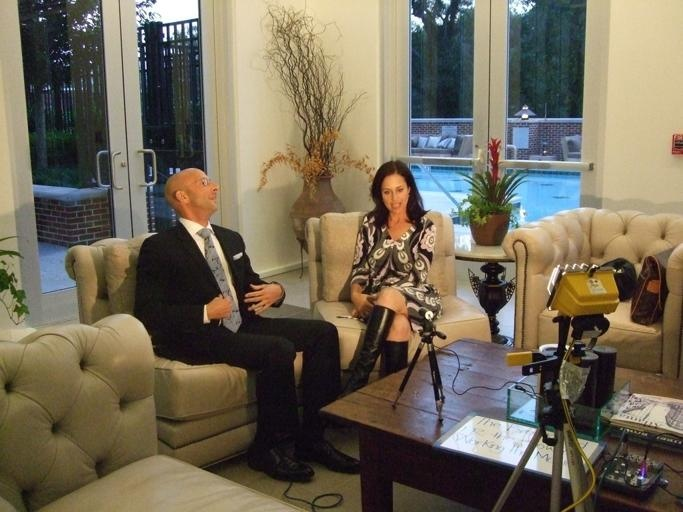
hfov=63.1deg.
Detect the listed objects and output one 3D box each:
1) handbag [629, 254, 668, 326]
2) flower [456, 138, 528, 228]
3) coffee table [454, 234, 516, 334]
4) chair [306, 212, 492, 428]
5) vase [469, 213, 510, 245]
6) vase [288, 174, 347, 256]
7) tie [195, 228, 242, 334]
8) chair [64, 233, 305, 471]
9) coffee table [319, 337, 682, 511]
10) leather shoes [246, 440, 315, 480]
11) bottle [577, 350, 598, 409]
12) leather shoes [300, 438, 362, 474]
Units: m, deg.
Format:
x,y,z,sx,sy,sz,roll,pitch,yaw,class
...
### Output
x,y,z,sx,sy,sz,roll,pitch,yaw,class
1.655,0.181,2.992,0.163,0.356,0.137,1,10,14,handbag
1.116,-0.472,3.940,0.382,0.695,0.525,-2,5,-14,flower
1.054,0.273,3.893,0.493,0.621,0.510,1,0,2,coffee table
0.302,0.253,3.317,1.087,1.084,1.084,-5,3,-27,chair
1.040,-0.200,3.896,0.254,0.223,0.257,6,7,34,vase
-0.242,-0.454,5.752,0.591,0.794,0.623,0,8,-4,vase
-0.670,0.063,2.893,0.143,0.650,0.073,-13,-8,-46,tie
-0.881,0.415,2.973,1.042,1.015,0.886,8,10,29,chair
0.563,0.633,2.240,0.940,0.540,0.760,11,21,39,coffee table
-0.295,0.967,2.673,0.331,0.169,0.131,11,15,21,leather shoes
0.906,0.444,2.031,0.068,0.282,0.066,-13,34,9,bottle
-0.064,0.955,2.714,0.327,0.133,0.116,6,7,22,leather shoes
